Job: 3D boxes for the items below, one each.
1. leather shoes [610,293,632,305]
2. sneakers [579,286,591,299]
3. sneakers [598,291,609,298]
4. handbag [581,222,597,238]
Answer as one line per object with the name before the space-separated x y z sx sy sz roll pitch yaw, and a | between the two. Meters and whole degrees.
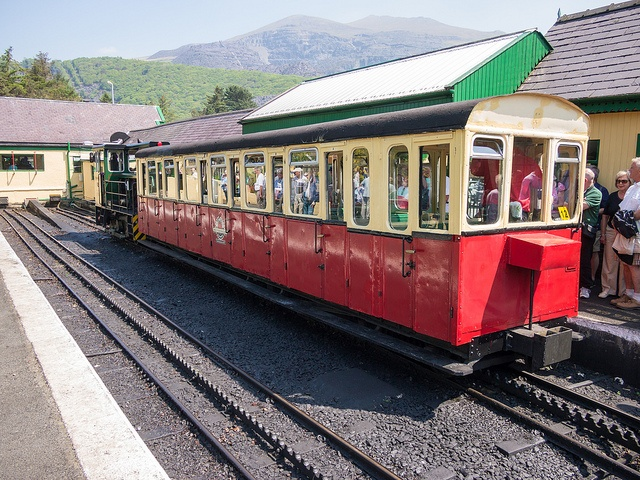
leather shoes | 5.653 1.112 8.688 0.370 0.185 0.138 -2 3 9
sneakers | 5.227 1.045 9.098 0.121 0.155 0.359 3 -4 19
sneakers | 5.645 1.065 9.167 0.222 0.107 0.097 -4 7 -37
handbag | 5.143 -0.203 8.841 0.262 0.277 0.154 0 4 -37
